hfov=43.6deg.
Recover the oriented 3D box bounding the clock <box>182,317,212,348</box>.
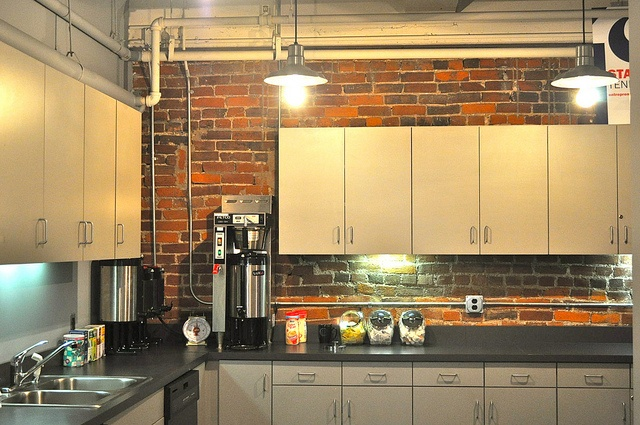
[{"bbox_3d":[-1.077,1.060,7.003,0.241,0.269,0.088,0,-5,-4],"label":"clock"}]

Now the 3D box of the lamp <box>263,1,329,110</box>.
[{"bbox_3d":[-0.202,-1.465,6.562,0.478,1.009,1.152,-1,-6,-1],"label":"lamp"}]

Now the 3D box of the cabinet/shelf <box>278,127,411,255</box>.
[{"bbox_3d":[0.269,-0.188,7.130,1.196,1.120,0.443,0,0,15],"label":"cabinet/shelf"}]

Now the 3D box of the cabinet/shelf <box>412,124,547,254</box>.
[{"bbox_3d":[1.373,-0.196,7.079,1.188,1.113,0.464,0,1,-3],"label":"cabinet/shelf"}]

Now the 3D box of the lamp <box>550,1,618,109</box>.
[{"bbox_3d":[2.142,-1.432,6.531,0.478,0.906,0.965,-3,-6,20],"label":"lamp"}]
